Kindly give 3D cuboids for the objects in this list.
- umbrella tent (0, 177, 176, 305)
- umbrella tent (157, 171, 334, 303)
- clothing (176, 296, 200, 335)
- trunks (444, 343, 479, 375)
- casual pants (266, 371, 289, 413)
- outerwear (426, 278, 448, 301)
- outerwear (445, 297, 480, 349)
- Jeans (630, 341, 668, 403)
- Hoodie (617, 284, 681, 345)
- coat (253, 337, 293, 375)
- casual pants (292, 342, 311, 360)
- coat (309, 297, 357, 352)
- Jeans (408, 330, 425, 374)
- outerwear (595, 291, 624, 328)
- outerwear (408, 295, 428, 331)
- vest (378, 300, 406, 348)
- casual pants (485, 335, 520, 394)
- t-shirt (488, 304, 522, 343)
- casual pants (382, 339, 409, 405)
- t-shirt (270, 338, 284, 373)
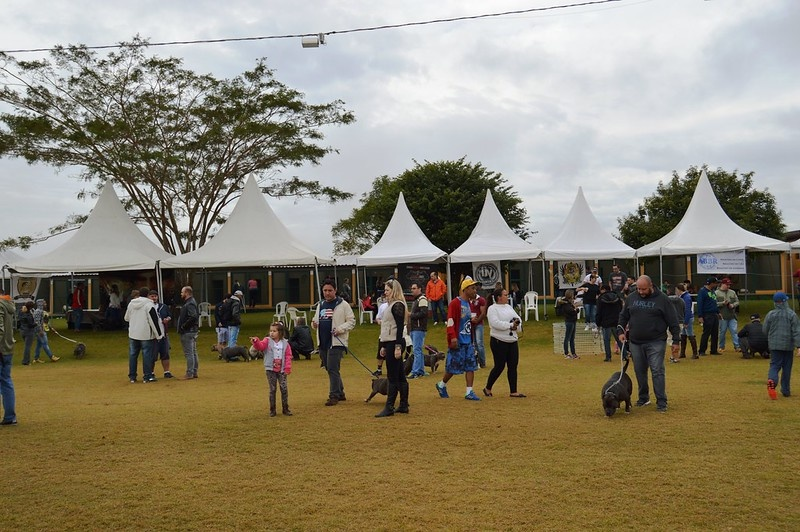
[{"bbox_3d":[-11.479,-1.644,30.840,7.587,2.719,7.649,-9,15,-29],"label":"umbrella tent"},{"bbox_3d":[-5.672,-0.832,29.067,5.611,4.107,5.624,0,-3,-3],"label":"umbrella tent"},{"bbox_3d":[-5.228,1.289,19.328,0.692,1.112,1.192,1,-4,-17],"label":"clothing"},{"bbox_3d":[1.272,1.945,16.052,0.922,0.861,0.522,2,-10,-8],"label":"trunks"},{"bbox_3d":[-2.424,2.442,15.459,0.488,1.028,0.294,-7,22,-22],"label":"casual pants"},{"bbox_3d":[1.318,0.850,27.713,0.852,0.979,0.568,-5,-14,30],"label":"outerwear"},{"bbox_3d":[1.377,1.206,16.371,0.478,1.210,1.201,-10,-10,37],"label":"outerwear"},{"bbox_3d":[4.972,2.062,15.254,0.800,1.334,0.665,6,12,40],"label":"Jeans"},{"bbox_3d":[4.928,0.959,15.287,1.268,1.100,0.606,4,17,36],"label":"Hoodie"},{"bbox_3d":[-2.532,1.746,15.312,0.912,0.791,0.456,9,-14,-31],"label":"coat"},{"bbox_3d":[-2.769,2.403,22.076,0.545,0.401,0.543,2,-8,-7],"label":"casual pants"},{"bbox_3d":[-1.309,1.157,15.856,0.787,0.977,0.518,-3,9,-6],"label":"coat"},{"bbox_3d":[0.433,2.080,18.956,0.334,1.211,0.360,7,7,6],"label":"Jeans"},{"bbox_3d":[5.360,1.130,19.705,0.828,0.932,0.560,1,27,18],"label":"outerwear"},{"bbox_3d":[0.446,1.095,18.375,0.505,0.897,0.825,1,3,-8],"label":"outerwear"},{"bbox_3d":[-0.118,1.091,15.096,0.505,0.801,0.400,-1,9,5],"label":"vest"},{"bbox_3d":[2.177,2.057,16.328,0.684,1.358,0.782,-1,9,6],"label":"casual pants"},{"bbox_3d":[2.148,1.204,15.932,0.635,0.786,0.459,-1,9,5],"label":"t-shirt"},{"bbox_3d":[-0.047,2.096,15.198,0.402,1.323,0.463,-2,9,0],"label":"casual pants"},{"bbox_3d":[-2.356,1.783,15.256,0.296,0.521,0.134,4,-4,-18],"label":"t-shirt"}]
